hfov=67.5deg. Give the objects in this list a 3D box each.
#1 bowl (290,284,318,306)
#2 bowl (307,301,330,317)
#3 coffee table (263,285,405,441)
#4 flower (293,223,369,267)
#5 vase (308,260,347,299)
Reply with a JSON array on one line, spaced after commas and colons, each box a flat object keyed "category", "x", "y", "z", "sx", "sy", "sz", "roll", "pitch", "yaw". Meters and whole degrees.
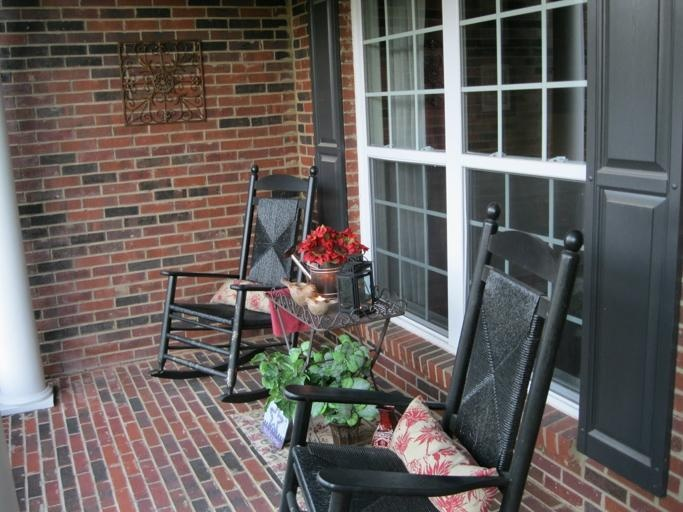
[{"category": "bowl", "x": -0.204, "y": 0.209, "z": 2.727, "sx": 0.085, "sy": 0.063, "sz": 0.165, "roll": -5, "pitch": 20, "yaw": -22}, {"category": "bowl", "x": -0.120, "y": 0.268, "z": 2.610, "sx": 0.091, "sy": 0.053, "sz": 0.086, "roll": 6, "pitch": 2, "yaw": 0}, {"category": "coffee table", "x": -0.037, "y": 0.356, "z": 2.893, "sx": 0.619, "sy": 0.715, "sz": 1.073, "roll": -5, "pitch": 14, "yaw": -29}, {"category": "flower", "x": -0.008, "y": -0.054, "z": 2.807, "sx": 0.338, "sy": 0.173, "sz": 0.299, "roll": 3, "pitch": 8, "yaw": -36}, {"category": "vase", "x": -0.083, "y": 0.120, "z": 2.695, "sx": 0.180, "sy": 0.177, "sz": 0.178, "roll": -11, "pitch": 18, "yaw": -39}]
